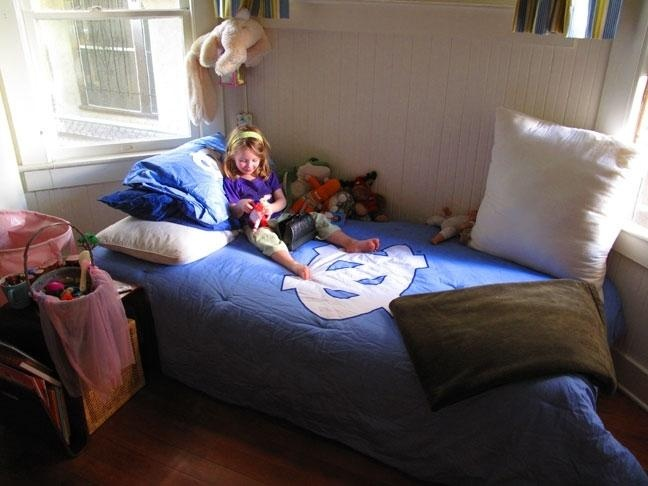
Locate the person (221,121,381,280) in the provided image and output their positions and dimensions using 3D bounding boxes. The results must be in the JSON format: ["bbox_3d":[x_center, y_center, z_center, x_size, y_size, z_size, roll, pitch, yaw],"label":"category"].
[{"bbox_3d":[-0.211,-0.238,2.434,0.481,0.591,0.859,-17,29,-37],"label":"person"}]

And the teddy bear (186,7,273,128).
[{"bbox_3d":[-0.548,-1.015,2.774,0.435,0.569,0.263,22,14,17],"label":"teddy bear"}]

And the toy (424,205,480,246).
[{"bbox_3d":[0.691,-0.101,2.538,0.233,0.099,0.206,-23,30,-2],"label":"toy"}]

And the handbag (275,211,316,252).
[{"bbox_3d":[-0.137,-0.074,2.430,0.174,0.164,0.240,18,34,26],"label":"handbag"}]

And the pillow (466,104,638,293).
[{"bbox_3d":[1.092,-0.212,2.312,0.698,0.694,0.361,27,29,37],"label":"pillow"}]

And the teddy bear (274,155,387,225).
[{"bbox_3d":[0.031,-0.282,2.689,0.455,0.209,0.370,20,49,22],"label":"teddy bear"}]
